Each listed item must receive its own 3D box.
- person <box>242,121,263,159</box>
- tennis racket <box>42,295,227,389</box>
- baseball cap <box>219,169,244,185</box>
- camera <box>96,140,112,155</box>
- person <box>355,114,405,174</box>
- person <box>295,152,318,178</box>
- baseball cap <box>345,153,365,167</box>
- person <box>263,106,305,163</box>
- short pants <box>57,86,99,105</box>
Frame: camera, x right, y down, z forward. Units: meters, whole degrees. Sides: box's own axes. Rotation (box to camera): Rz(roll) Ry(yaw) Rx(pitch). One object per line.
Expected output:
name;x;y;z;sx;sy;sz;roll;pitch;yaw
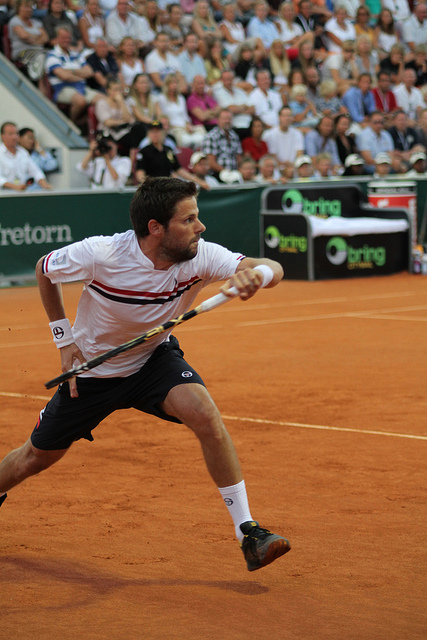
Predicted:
person;0.793;-3.618;13.822;0.407;0.676;0.377;-2;5;8
tennis racket;-0.312;0.088;2.738;0.770;0.347;0.175;-2;5;14
baseball cap;0.362;-2.803;13.442;0.507;0.276;0.145;-6;6;-38
camera;-1.951;-3.073;12.221;0.227;0.064;0.214;-3;-2;11
person;3.744;-3.913;15.272;0.951;1.240;1.377;-11;28;-25
person;1.883;-3.119;13.956;0.604;0.376;0.927;-12;12;-3
baseball cap;3.011;-3.426;14.781;0.507;0.296;0.159;-5;5;-30
person;1.520;-3.788;14.158;0.915;1.090;0.402;-5;5;-23
short pants;-2.552;-4.169;12.784;0.861;0.347;0.192;-1;5;23
